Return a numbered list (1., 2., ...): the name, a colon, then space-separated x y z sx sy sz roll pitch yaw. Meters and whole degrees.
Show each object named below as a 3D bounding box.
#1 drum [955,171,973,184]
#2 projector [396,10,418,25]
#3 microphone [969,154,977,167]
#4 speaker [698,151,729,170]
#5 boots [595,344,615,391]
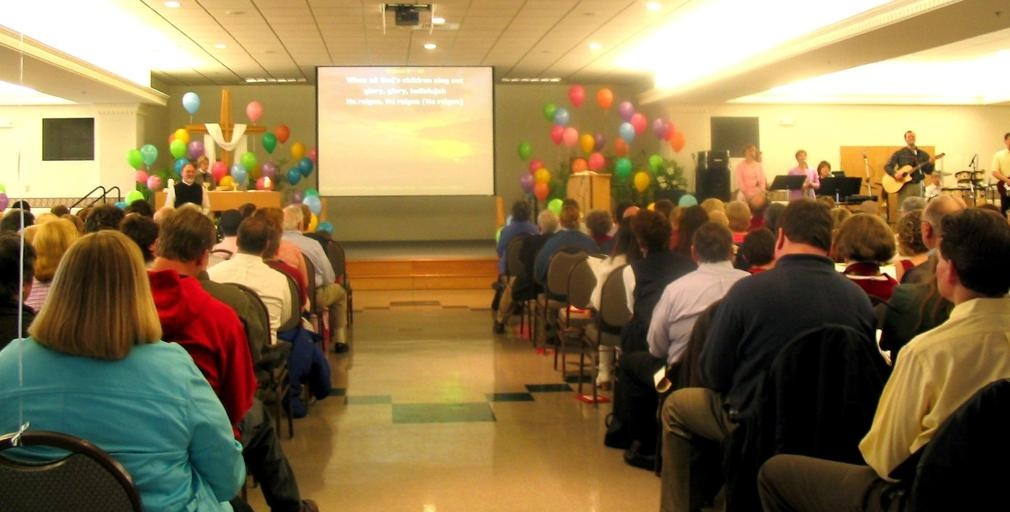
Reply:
1. drum: 9.060 -1.579 15.349 0.332 0.140 0.309 0 -2 0
2. projector: -1.589 -3.897 12.606 0.345 0.164 0.214 -1 8 -3
3. microphone: 10.799 -2.241 17.911 0.072 0.372 0.074 46 -14 -21
4. speaker: 4.302 -2.011 16.198 0.482 0.259 0.450 0 0 -17
5. boots: 1.131 1.252 8.721 0.282 0.451 0.687 4 -6 9
